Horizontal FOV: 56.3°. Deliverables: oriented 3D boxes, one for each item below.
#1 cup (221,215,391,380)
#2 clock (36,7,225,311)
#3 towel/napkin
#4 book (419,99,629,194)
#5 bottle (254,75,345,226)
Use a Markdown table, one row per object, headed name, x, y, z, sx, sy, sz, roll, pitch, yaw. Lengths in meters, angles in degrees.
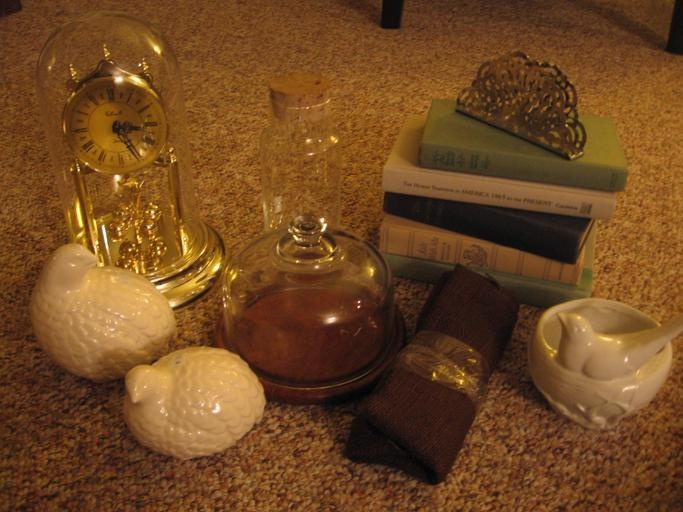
| name | x | y | z | sx | sy | sz | roll | pitch | yaw |
| --- | --- | --- | --- | --- | --- | --- | --- | --- | --- |
| cup | -0.043 | 0.061 | 0.875 | 0.206 | 0.151 | 0.206 | 1 | 38 | -1 |
| clock | -0.334 | -0.182 | 0.976 | 0.236 | 0.301 | 0.501 | -21 | 48 | -20 |
| towel/napkin | 0.126 | 0.132 | 0.787 | 0.130 | 0.090 | 0.299 | 19 | 50 | 19 |
| book | 0.253 | -0.165 | 0.906 | 0.273 | 0.039 | 0.153 | 11 | 45 | 10 |
| bottle | -0.064 | -0.163 | 0.986 | 0.126 | 0.260 | 0.125 | 0 | 44 | 0 |
